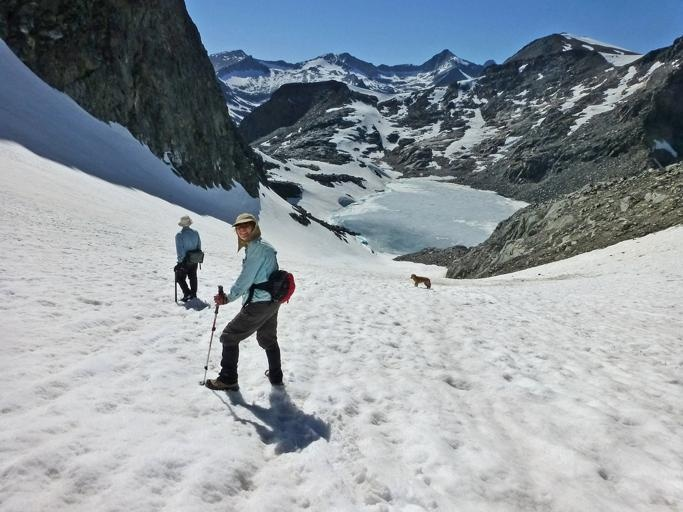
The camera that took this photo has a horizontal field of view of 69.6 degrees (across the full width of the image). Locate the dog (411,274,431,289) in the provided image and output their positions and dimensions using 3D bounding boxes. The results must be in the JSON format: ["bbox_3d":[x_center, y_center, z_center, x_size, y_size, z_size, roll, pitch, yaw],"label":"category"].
[{"bbox_3d":[3.448,1.189,22.297,0.951,0.411,0.632,13,8,6],"label":"dog"}]

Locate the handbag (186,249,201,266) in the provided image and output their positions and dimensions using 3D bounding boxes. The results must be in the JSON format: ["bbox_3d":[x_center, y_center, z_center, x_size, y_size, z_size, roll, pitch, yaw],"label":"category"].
[{"bbox_3d":[-4.659,0.016,15.300,0.314,0.436,0.539,12,9,36],"label":"handbag"}]

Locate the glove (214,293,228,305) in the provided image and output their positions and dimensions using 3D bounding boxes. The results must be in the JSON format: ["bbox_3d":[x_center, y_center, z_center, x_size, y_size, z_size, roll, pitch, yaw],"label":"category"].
[{"bbox_3d":[-2.759,0.974,11.052,0.333,0.269,0.259,8,10,-30],"label":"glove"}]
